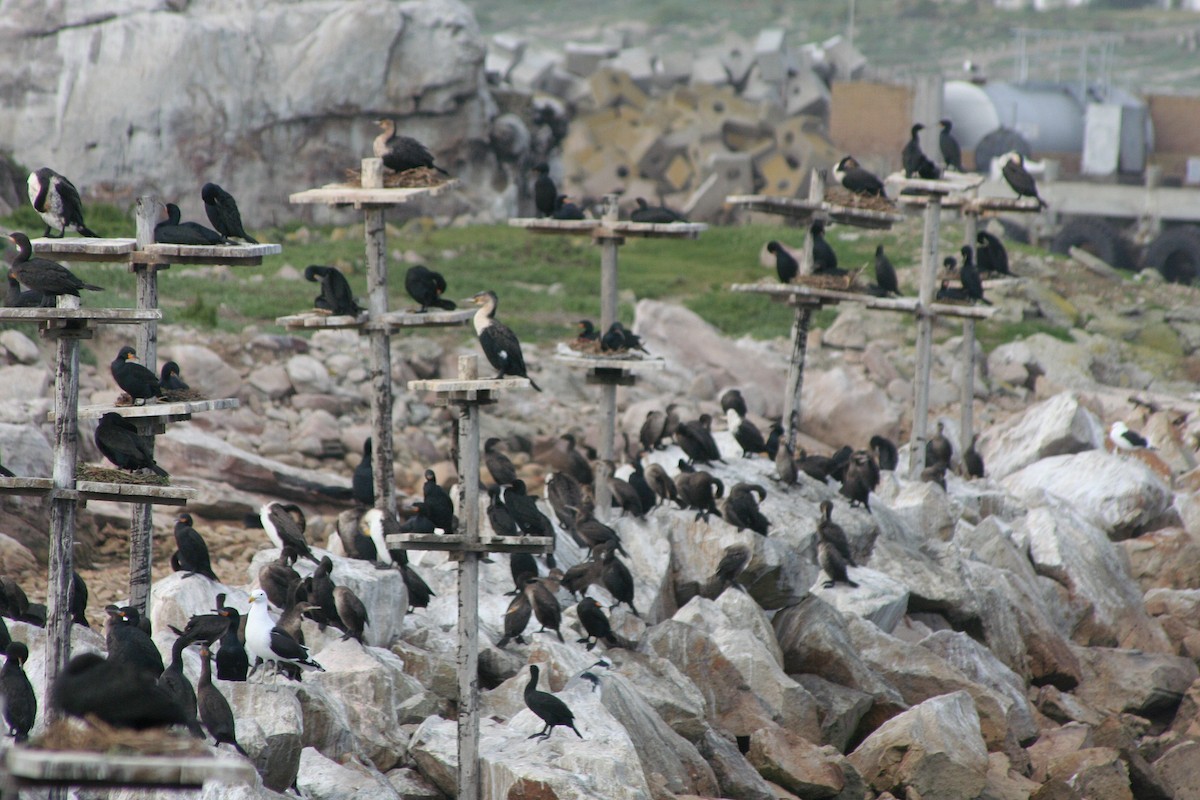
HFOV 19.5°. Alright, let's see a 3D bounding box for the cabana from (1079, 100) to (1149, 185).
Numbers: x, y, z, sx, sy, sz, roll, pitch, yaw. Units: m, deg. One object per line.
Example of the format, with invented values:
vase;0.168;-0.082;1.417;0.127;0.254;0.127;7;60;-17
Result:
cabana;18.407;-8.965;123.738;2.709;3.723;2.495;-1;4;-19
